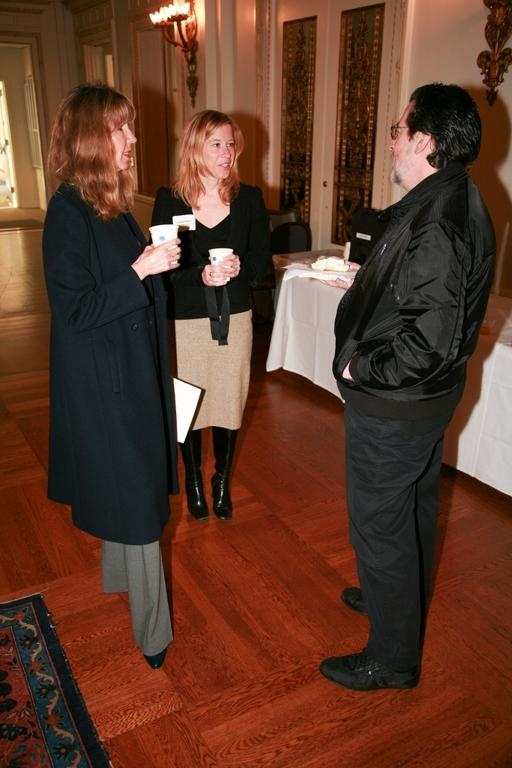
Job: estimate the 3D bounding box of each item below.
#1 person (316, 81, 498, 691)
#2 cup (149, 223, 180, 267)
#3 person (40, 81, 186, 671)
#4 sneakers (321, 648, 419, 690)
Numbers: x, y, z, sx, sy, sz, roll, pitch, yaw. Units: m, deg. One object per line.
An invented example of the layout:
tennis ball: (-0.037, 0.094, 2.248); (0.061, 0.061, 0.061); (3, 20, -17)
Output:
person: (0.349, 0.118, 1.367); (0.352, 1.550, 0.323); (2, 21, 7)
cup: (-0.211, -0.347, 1.348); (0.080, 0.060, 0.077); (-2, 11, 0)
person: (-0.335, 0.080, 1.451); (0.318, 1.551, 0.346); (15, 26, 36)
sneakers: (0.302, 0.804, 1.604); (0.289, 0.113, 0.112); (1, 23, 7)
